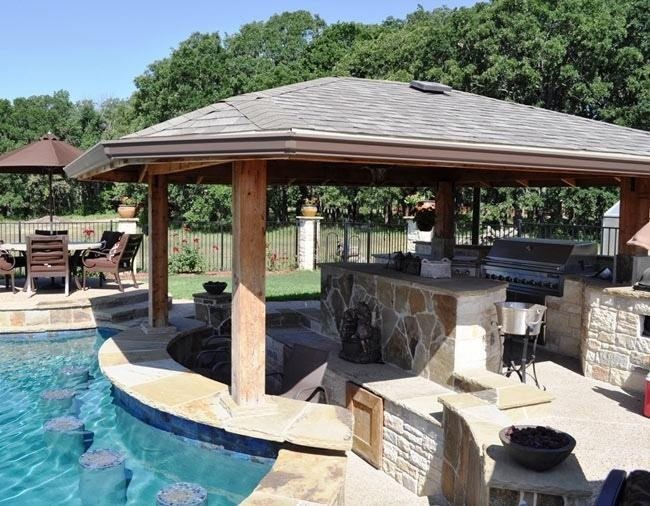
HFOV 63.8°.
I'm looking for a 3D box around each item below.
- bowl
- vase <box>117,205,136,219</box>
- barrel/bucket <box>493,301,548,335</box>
[{"bbox_3d":[1.825,1.627,4.557,0.501,0.311,0.526,0,6,0],"label":"bowl"},{"bbox_3d":[-6.290,-1.329,16.769,0.436,0.349,0.458,-1,2,1],"label":"vase"},{"bbox_3d":[2.575,0.848,6.961,0.575,0.479,0.641,-4,8,-44],"label":"barrel/bucket"}]
